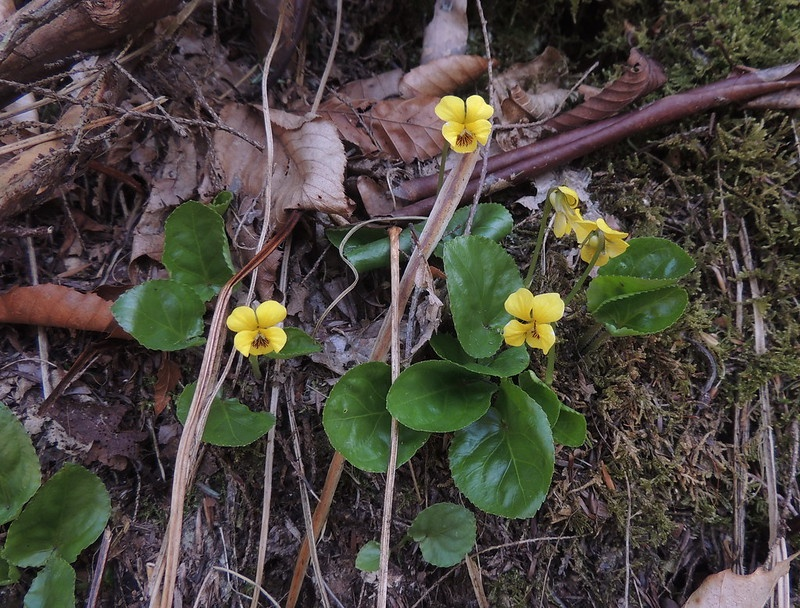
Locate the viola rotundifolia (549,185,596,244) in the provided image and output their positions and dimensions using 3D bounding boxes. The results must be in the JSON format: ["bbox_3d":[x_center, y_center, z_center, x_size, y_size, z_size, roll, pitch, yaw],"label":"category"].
[{"bbox_3d":[0.631,-0.330,2.294,0.133,0.193,0.075,-20,10,-4],"label":"viola rotundifolia"}]

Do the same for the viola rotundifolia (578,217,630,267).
[{"bbox_3d":[0.731,-0.252,2.267,0.177,0.213,0.086,23,83,10],"label":"viola rotundifolia"}]

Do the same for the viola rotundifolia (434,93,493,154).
[{"bbox_3d":[0.254,-0.688,2.298,0.216,0.247,0.084,-9,74,30],"label":"viola rotundifolia"}]

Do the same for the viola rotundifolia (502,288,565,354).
[{"bbox_3d":[0.469,0.064,2.217,0.200,0.084,0.245,28,54,20],"label":"viola rotundifolia"}]
